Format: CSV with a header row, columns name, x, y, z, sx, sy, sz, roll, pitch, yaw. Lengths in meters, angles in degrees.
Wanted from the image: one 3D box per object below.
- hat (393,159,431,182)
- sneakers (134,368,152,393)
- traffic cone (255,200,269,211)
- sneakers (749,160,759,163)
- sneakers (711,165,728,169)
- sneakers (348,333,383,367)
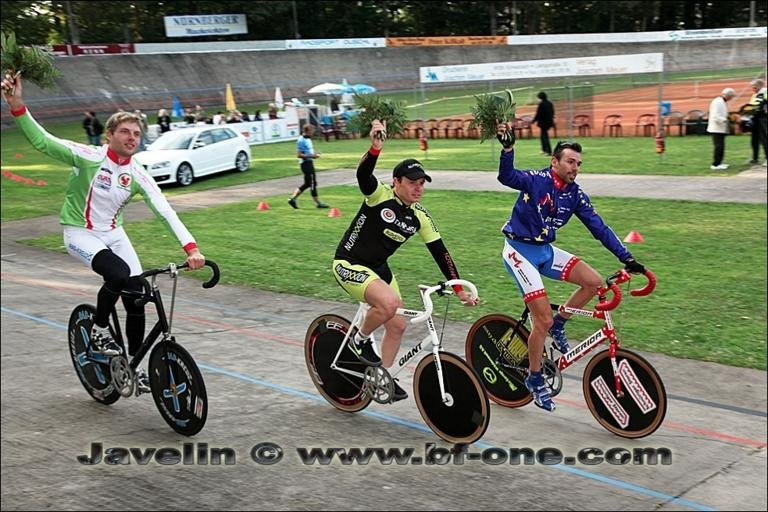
name,x,y,z,sx,sy,sz,roll,pitch,yaw
hat,0.274,-0.873,6.411,0.337,0.241,0.313,-4,20,3
sneakers,-2.541,1.307,6.683,0.253,0.213,0.102,1,3,-33
traffic cone,-3.406,-1.418,17.794,0.393,0.172,0.379,2,-3,0
sneakers,11.585,-2.992,19.820,0.257,0.075,0.266,1,20,18
sneakers,10.322,-2.761,19.485,0.568,0.127,0.146,-1,8,2
sneakers,-0.196,0.982,6.668,0.518,0.153,0.206,26,22,31
